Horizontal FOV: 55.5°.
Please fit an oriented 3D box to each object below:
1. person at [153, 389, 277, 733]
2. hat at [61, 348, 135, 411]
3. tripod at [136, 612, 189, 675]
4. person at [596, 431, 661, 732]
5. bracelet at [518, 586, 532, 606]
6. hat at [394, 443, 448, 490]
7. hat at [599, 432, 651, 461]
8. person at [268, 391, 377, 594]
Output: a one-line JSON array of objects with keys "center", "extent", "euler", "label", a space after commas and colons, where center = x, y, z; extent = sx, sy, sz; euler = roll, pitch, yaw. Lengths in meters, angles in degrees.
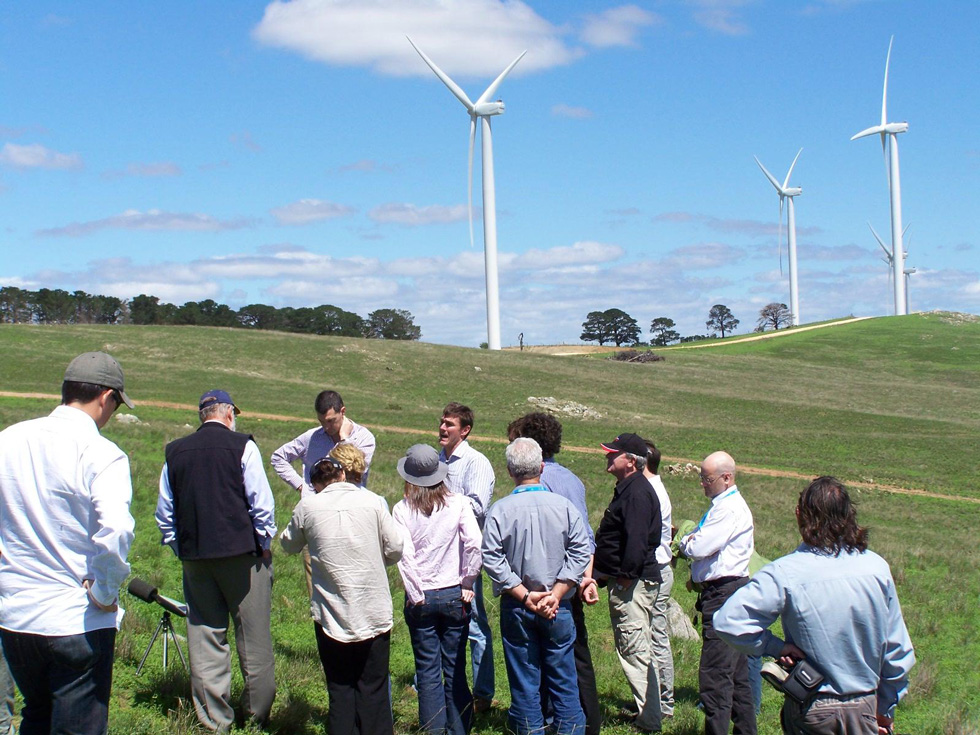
[{"center": [-2.534, 1.826, 8.714], "extent": [0.977, 3.247, 0.551], "euler": [-1, 0, -21], "label": "person"}, {"center": [-3.040, 0.080, 7.349], "extent": [0.395, 0.365, 0.582], "euler": [4, -10, 18], "label": "hat"}, {"center": [-3.456, 2.927, 9.807], "extent": [0.564, 0.798, 0.517], "euler": [12, -24, -27], "label": "tripod"}, {"center": [1.435, 2.248, 9.655], "extent": [0.658, 2.834, 0.418], "euler": [-1, 0, 9], "label": "person"}, {"center": [0.317, 2.093, 8.562], "extent": [0.138, 0.127, 0.109], "euler": [22, 29, -41], "label": "bracelet"}, {"center": [-0.670, 0.953, 8.909], "extent": [0.413, 0.208, 0.401], "euler": [24, 37, 23], "label": "hat"}, {"center": [1.456, 0.833, 9.843], "extent": [0.385, 0.240, 0.287], "euler": [4, -9, 3], "label": "hat"}, {"center": [-1.852, 1.161, 10.423], "extent": [1.138, 1.784, 0.901], "euler": [-1, 6, -19], "label": "person"}]
